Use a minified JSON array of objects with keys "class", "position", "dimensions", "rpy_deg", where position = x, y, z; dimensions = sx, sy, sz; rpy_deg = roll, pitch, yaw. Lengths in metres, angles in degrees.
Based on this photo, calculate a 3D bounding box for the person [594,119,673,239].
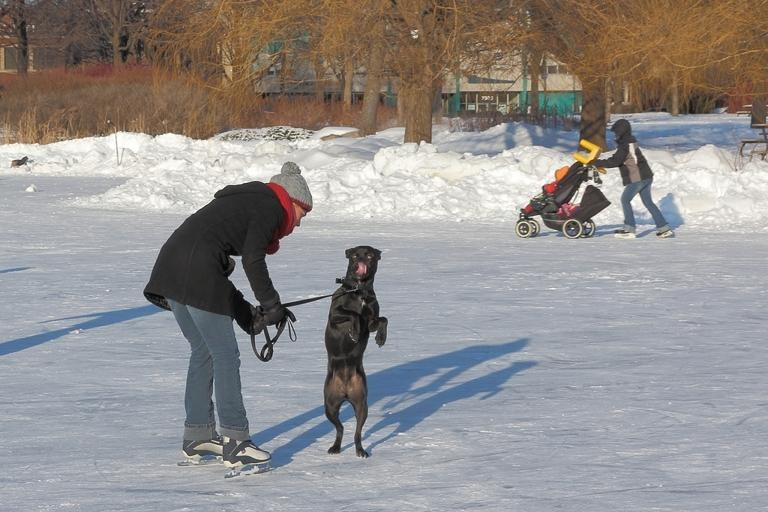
[{"class":"person","position":[4.812,-1.469,21.145],"dimensions":[1.056,2.382,1.460],"rpy_deg":[7,12,29]}]

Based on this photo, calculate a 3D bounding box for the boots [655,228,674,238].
[{"class":"boots","position":[5.555,-0.447,21.861],"dimensions":[0.221,0.138,0.443],"rpy_deg":[-4,5,-8]}]

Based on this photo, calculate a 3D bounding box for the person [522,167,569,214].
[{"class":"person","position":[3.168,-1.281,21.460],"dimensions":[0.479,0.985,0.880],"rpy_deg":[-5,12,-30]}]

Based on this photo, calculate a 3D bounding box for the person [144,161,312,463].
[{"class":"person","position":[-1.552,0.615,10.899],"dimensions":[1.534,3.067,0.582],"rpy_deg":[-1,11,-10]}]

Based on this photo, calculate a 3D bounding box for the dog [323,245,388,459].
[{"class":"dog","position":[-0.285,1.010,11.245],"dimensions":[0.609,2.186,0.384],"rpy_deg":[1,11,-1]}]

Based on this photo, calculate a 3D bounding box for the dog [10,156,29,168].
[{"class":"dog","position":[-11.780,-3.093,35.774],"dimensions":[0.396,0.300,0.967],"rpy_deg":[0,10,-2]}]
